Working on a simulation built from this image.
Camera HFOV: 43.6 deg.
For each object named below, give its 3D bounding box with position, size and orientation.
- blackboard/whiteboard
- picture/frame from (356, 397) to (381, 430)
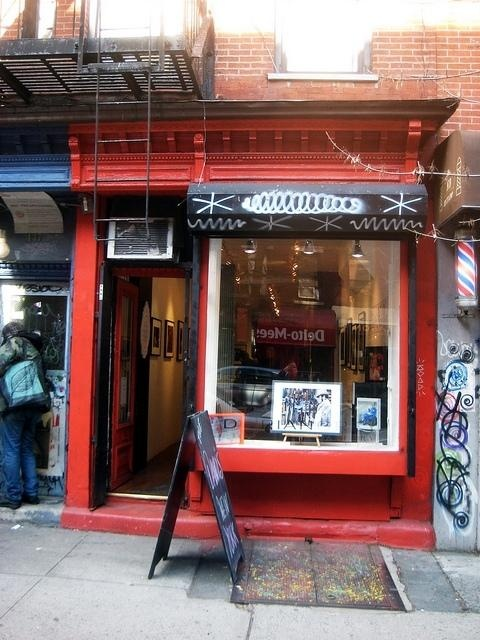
[{"bbox_3d":[-0.231,1.383,4.755,0.304,1.258,0.743,-10,-10,7],"label":"blackboard/whiteboard"},{"bbox_3d":[1.215,0.893,5.779,0.272,0.498,0.240,-2,-10,16],"label":"picture/frame"}]
